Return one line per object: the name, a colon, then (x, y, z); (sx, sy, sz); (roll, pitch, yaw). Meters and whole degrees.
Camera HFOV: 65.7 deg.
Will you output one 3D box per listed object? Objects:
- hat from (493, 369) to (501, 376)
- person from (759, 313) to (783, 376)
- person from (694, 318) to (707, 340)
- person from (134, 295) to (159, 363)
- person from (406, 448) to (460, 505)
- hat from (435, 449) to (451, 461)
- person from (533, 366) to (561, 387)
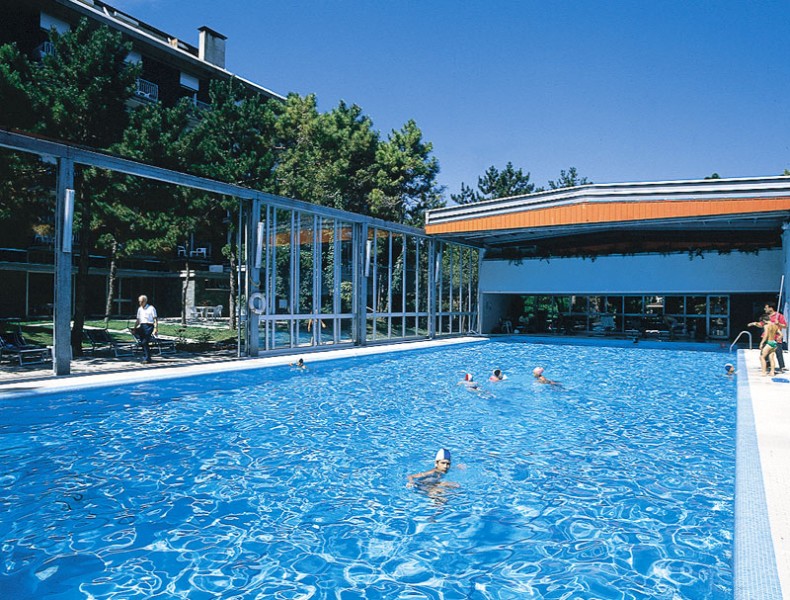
hat: (2.273, 1.675, 13.927); (0.192, 0.168, 0.144); (-1, 15, 16)
person: (8.604, 1.112, 14.060); (0.433, 1.403, 1.677); (8, 13, 32)
person: (12.099, 1.164, 24.328); (0.486, 0.659, 0.892); (6, 12, 24)
person: (-6.111, 0.648, 14.948); (0.521, 1.621, 1.159); (-4, 12, -23)
person: (0.564, 2.516, 8.228); (0.672, 0.848, 0.550); (15, -26, -35)
hat: (0.652, 2.098, 8.283); (0.177, 0.136, 0.179); (1, -9, -4)
person: (3.465, 1.747, 14.048); (0.561, 0.390, 1.052); (3, 11, 10)
